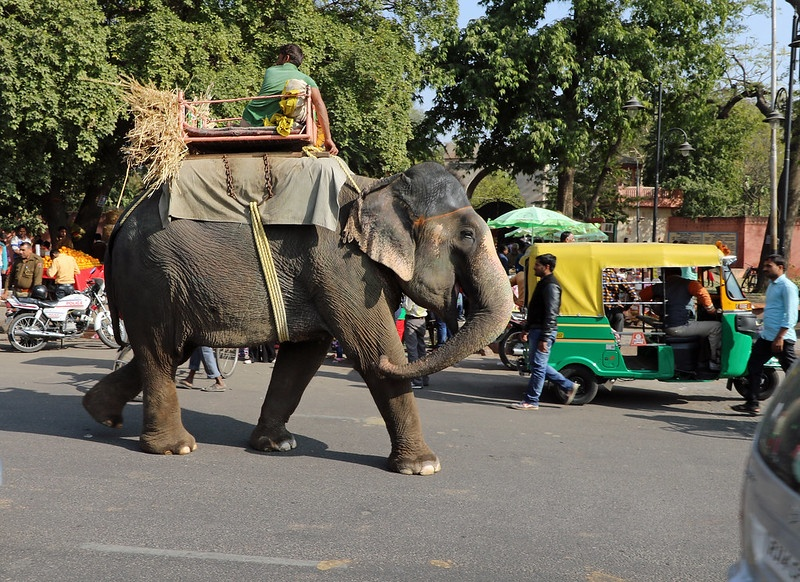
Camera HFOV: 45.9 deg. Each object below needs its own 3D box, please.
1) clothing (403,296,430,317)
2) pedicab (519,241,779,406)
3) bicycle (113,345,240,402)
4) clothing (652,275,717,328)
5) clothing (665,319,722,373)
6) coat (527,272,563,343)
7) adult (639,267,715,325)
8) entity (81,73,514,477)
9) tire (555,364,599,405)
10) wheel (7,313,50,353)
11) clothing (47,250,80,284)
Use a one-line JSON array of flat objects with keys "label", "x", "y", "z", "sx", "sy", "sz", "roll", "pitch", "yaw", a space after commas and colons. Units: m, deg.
[{"label": "clothing", "x": 0.225, "y": 0.253, "z": 14.127, "sx": 0.415, "sy": 0.304, "sz": 0.293, "roll": 0, "pitch": 19, "yaw": -1}, {"label": "pedicab", "x": 3.456, "y": 0.557, "z": 14.039, "sx": 4.187, "sy": 2.159, "sz": 1.866, "roll": 0, "pitch": -6, "yaw": -18}, {"label": "bicycle", "x": -3.241, "y": 1.165, "z": 13.631, "sx": 1.708, "sy": 0.893, "sz": 0.828, "roll": 3, "pitch": -3, "yaw": -2}, {"label": "clothing", "x": 3.919, "y": 0.115, "z": 13.664, "sx": 1.173, "sy": 0.872, "sz": 0.628, "roll": 1, "pitch": 8, "yaw": 26}, {"label": "clothing", "x": 4.046, "y": 0.739, "z": 13.109, "sx": 0.693, "sy": 0.661, "sz": 0.242, "roll": 3, "pitch": 8, "yaw": 13}, {"label": "coat", "x": 1.989, "y": 0.173, "z": 13.065, "sx": 0.481, "sy": 0.907, "sz": 1.155, "roll": 1, "pitch": 7, "yaw": 1}, {"label": "adult", "x": 3.991, "y": 0.098, "z": 13.649, "sx": 1.201, "sy": 0.860, "sz": 0.618, "roll": 0, "pitch": 5, "yaw": 23}, {"label": "entity", "x": -1.319, "y": -0.107, "z": 10.709, "sx": 4.965, "sy": 3.533, "sz": 2.039, "roll": 4, "pitch": 3, "yaw": 4}, {"label": "tire", "x": 2.401, "y": 1.267, "z": 13.031, "sx": 0.694, "sy": 0.565, "sz": 0.241, "roll": -1, "pitch": -3, "yaw": 5}, {"label": "wheel", "x": -6.374, "y": 0.697, "z": 16.279, "sx": 0.790, "sy": 0.682, "sz": 0.266, "roll": -2, "pitch": 1, "yaw": -17}, {"label": "clothing", "x": -6.235, "y": -0.428, "z": 17.536, "sx": 0.438, "sy": 0.529, "sz": 0.694, "roll": 13, "pitch": 14, "yaw": 33}]
